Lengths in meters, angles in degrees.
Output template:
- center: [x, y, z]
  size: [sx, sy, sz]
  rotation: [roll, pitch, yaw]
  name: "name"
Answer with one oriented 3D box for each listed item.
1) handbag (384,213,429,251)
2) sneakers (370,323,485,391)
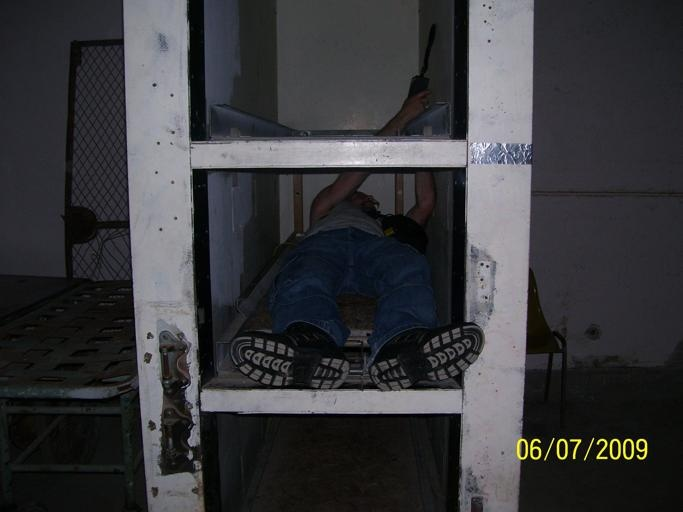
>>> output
- center: [0.380, -0.163, 3.673]
  size: [0.159, 0.108, 0.270]
  rotation: [20, 12, -9]
  name: "handbag"
- center: [0.392, 0.410, 2.880]
  size: [0.552, 0.252, 0.268]
  rotation: [-13, 8, 5]
  name: "sneakers"
